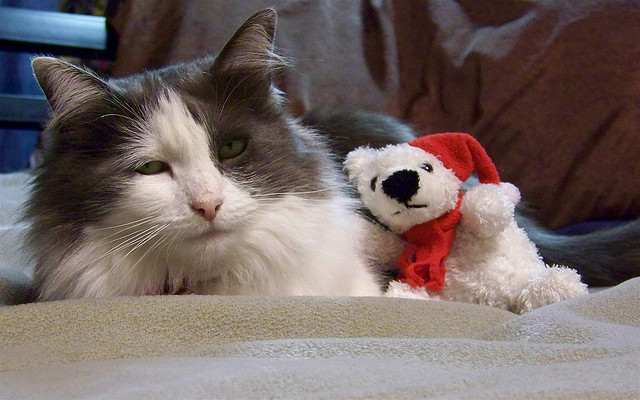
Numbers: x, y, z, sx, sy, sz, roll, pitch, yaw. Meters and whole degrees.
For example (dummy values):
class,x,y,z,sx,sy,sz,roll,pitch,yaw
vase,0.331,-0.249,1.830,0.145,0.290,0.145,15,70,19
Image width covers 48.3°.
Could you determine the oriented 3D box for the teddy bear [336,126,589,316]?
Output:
class,x,y,z,sx,sy,sz,roll,pitch,yaw
teddy bear,0.510,0.094,2.583,0.916,0.640,0.509,-2,3,25
